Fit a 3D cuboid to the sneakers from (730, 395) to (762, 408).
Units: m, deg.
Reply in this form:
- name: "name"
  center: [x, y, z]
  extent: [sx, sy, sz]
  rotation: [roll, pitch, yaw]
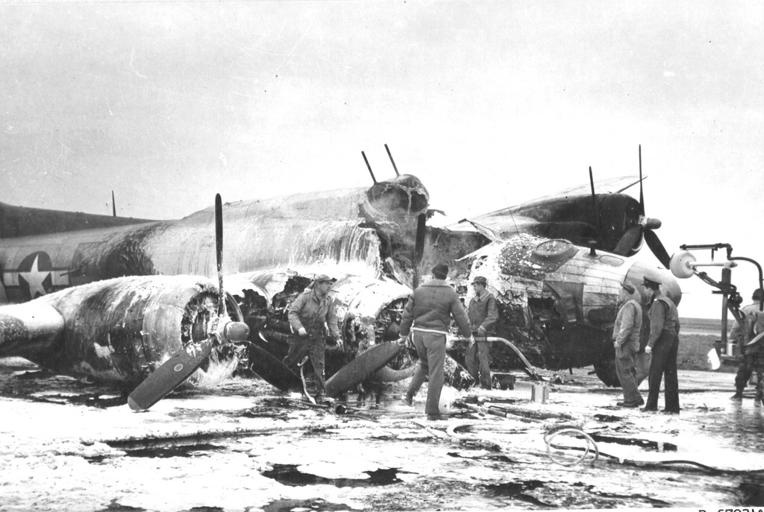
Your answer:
- name: "sneakers"
  center: [7.069, 2.789, 16.565]
  extent: [0.180, 0.242, 0.585]
  rotation: [5, 8, -45]

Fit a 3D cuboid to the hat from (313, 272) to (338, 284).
- name: "hat"
  center: [-1.091, 0.392, 15.530]
  extent: [0.273, 0.112, 0.184]
  rotation: [-6, -5, 13]

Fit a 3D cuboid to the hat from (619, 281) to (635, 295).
- name: "hat"
  center: [4.577, 0.575, 16.030]
  extent: [0.191, 0.092, 0.225]
  rotation: [35, -4, -39]

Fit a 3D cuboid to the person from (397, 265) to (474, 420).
- name: "person"
  center: [0.882, 1.438, 14.839]
  extent: [0.880, 2.520, 1.080]
  rotation: [-6, 10, -41]

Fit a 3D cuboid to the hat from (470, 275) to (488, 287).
- name: "hat"
  center: [1.948, 0.483, 16.815]
  extent: [0.237, 0.133, 0.173]
  rotation: [2, 3, -4]

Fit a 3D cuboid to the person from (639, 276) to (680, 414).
- name: "person"
  center: [5.079, 1.571, 15.533]
  extent: [0.705, 2.266, 1.060]
  rotation: [3, 8, 16]
